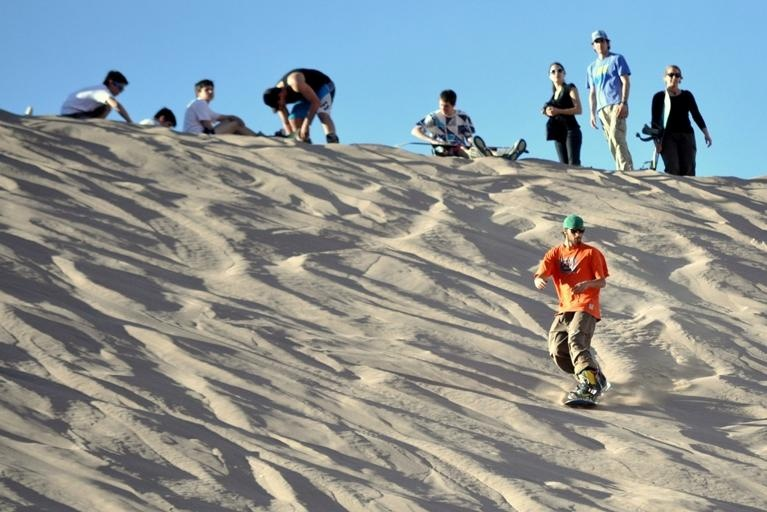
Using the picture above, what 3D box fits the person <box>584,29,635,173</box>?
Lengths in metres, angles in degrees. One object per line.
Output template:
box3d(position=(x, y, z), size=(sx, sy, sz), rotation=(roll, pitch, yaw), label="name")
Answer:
box3d(position=(2.516, -1.755, 16.835), size=(0.436, 1.453, 0.868), rotation=(-3, -6, 7), label="person")

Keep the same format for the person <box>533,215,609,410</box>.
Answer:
box3d(position=(1.557, 0.443, 12.427), size=(0.562, 1.579, 0.516), rotation=(-6, -7, 31), label="person")

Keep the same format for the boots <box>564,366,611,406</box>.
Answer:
box3d(position=(1.622, 1.080, 12.243), size=(0.330, 0.309, 0.307), rotation=(-2, -6, 11), label="boots")

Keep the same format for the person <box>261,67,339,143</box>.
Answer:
box3d(position=(-0.958, -1.668, 16.810), size=(0.779, 0.829, 0.747), rotation=(-2, -6, 10), label="person")

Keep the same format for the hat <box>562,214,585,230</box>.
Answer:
box3d(position=(1.590, -0.293, 12.586), size=(0.150, 0.087, 0.184), rotation=(5, 4, 4), label="hat")

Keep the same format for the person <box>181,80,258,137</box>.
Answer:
box3d(position=(-1.911, -1.656, 16.788), size=(0.642, 0.697, 0.801), rotation=(-3, -6, 14), label="person")

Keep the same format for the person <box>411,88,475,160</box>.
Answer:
box3d(position=(0.684, -1.504, 17.054), size=(0.693, 0.712, 0.553), rotation=(-1, -6, -3), label="person")

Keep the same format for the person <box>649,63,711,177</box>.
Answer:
box3d(position=(3.318, -1.509, 16.888), size=(0.617, 1.137, 0.895), rotation=(-3, -6, 10), label="person")
